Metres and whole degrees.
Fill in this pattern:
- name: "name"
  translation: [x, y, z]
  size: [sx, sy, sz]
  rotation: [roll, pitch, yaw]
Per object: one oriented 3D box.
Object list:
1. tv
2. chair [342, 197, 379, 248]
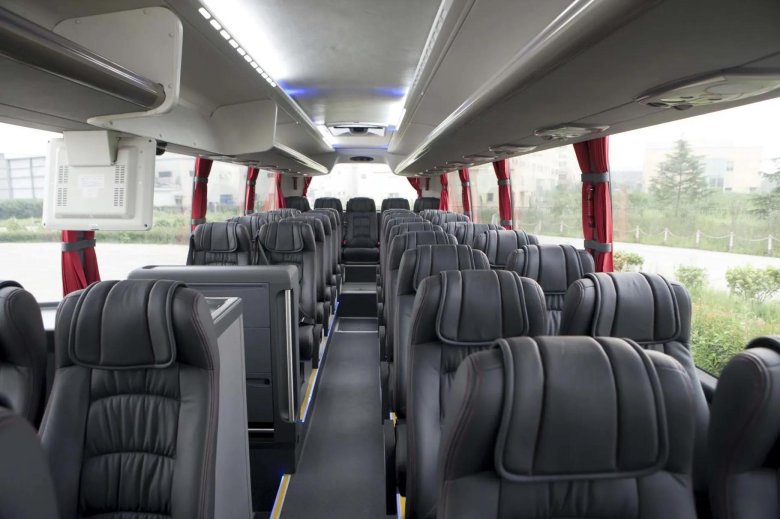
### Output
- name: "tv"
  translation: [-2.110, -0.557, 3.557]
  size: [0.739, 0.638, 0.369]
  rotation: [0, -5, -3]
- name: "chair"
  translation: [-0.663, -0.807, 11.130]
  size: [0.849, 1.353, 1.101]
  rotation: [1, -1, -4]
